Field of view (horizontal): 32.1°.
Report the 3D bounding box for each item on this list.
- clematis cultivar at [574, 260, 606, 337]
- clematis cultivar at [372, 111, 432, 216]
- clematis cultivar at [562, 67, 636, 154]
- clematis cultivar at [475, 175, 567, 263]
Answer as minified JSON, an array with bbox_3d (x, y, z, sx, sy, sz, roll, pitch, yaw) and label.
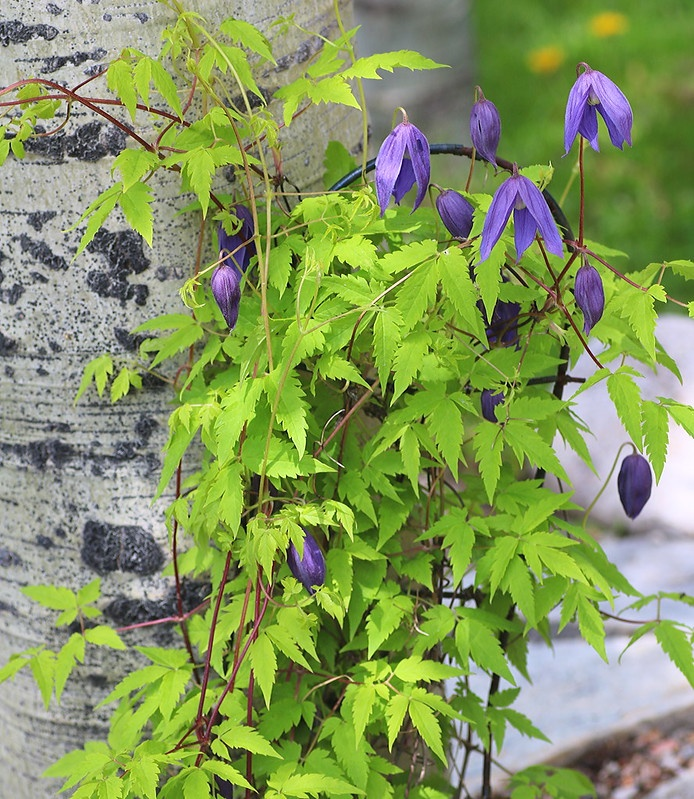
[{"bbox_3d":[0.413,-0.168,2.064,0.046,0.145,0.072,-5,31,11],"label":"clematis cultivar"},{"bbox_3d":[0.090,-0.397,2.012,0.094,0.186,0.076,-2,33,-6],"label":"clematis cultivar"},{"bbox_3d":[0.415,-0.493,2.005,0.103,0.151,0.112,3,11,35],"label":"clematis cultivar"},{"bbox_3d":[0.273,-0.300,1.943,0.130,0.115,0.134,-7,16,3],"label":"clematis cultivar"}]
